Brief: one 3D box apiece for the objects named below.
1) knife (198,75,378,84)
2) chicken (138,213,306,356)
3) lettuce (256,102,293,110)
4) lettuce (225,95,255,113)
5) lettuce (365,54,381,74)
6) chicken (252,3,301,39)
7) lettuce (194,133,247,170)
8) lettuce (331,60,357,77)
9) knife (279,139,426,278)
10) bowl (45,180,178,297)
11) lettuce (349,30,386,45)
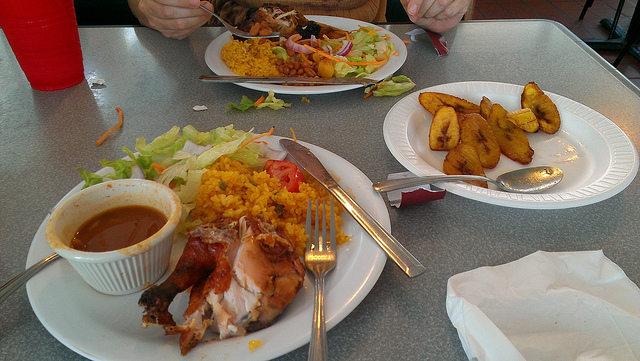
[{"bbox_3d":[-0.161,-0.460,2.041,0.533,0.055,0.027,2,98,-6],"label":"knife"},{"bbox_3d":[-0.279,0.314,1.389,0.393,0.139,0.478,25,60,10],"label":"chicken"},{"bbox_3d":[-0.196,-0.328,1.951,0.159,0.021,0.043,0,44,-3],"label":"lettuce"},{"bbox_3d":[-0.344,-0.337,1.946,0.111,0.027,0.066,1,54,-1],"label":"lettuce"},{"bbox_3d":[0.248,-0.576,2.164,0.068,0.021,0.099,25,62,11],"label":"lettuce"},{"bbox_3d":[-0.229,-0.814,2.303,0.225,0.163,0.100,39,73,-28],"label":"chicken"},{"bbox_3d":[-0.354,-0.106,1.598,0.217,0.042,0.063,-27,65,-19],"label":"lettuce"},{"bbox_3d":[0.110,-0.539,2.150,0.095,0.036,0.090,2,26,-5],"label":"lettuce"},{"bbox_3d":[0.083,0.063,1.550,0.077,0.069,0.705,-32,66,-21],"label":"knife"},{"bbox_3d":[-0.656,0.186,1.539,0.415,0.243,0.385,1,45,-1],"label":"bowl"},{"bbox_3d":[0.236,-0.717,2.295,0.105,0.032,0.094,-12,51,-43],"label":"lettuce"}]
